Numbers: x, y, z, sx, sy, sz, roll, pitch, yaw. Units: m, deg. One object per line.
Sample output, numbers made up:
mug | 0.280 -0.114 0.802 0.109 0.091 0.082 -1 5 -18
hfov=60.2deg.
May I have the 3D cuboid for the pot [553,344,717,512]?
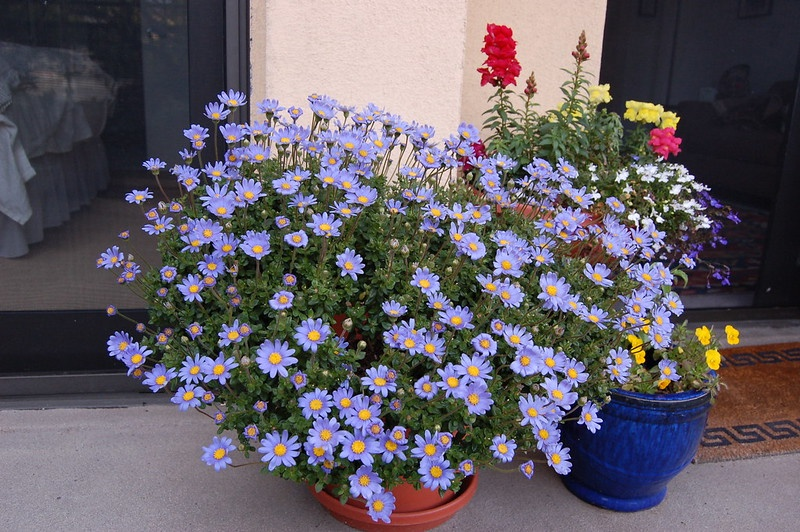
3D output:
pot | 1.058 0.794 3.282 0.652 0.547 0.680 1 15 0
